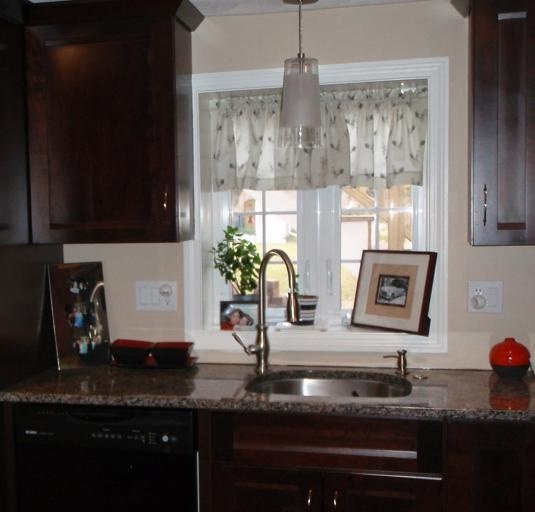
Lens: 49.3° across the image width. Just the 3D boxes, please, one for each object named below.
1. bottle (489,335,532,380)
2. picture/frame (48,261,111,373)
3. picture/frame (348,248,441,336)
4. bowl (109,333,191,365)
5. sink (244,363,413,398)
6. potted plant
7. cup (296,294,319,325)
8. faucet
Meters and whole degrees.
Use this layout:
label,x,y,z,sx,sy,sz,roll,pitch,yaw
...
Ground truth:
label,x,y,z,sx,sy,sz,roll,pitch,yaw
bottle,0.856,0.351,2.043,0.119,0.137,0.131,-1,-5,3
picture/frame,-0.756,0.233,2.337,0.224,0.403,0.110,-1,3,-31
picture/frame,0.508,0.172,2.345,0.276,0.359,0.200,2,-27,25
bowl,-0.446,0.375,2.289,0.310,0.090,0.149,1,3,7
sink,0.221,0.481,2.134,0.581,0.098,0.217,1,3,5
potted plant,-0.144,0.031,2.594,0.221,0.344,0.199,-4,-1,-16
cup,0.167,0.227,2.414,0.077,0.124,0.190,1,3,3
faucet,-0.010,0.211,2.126,0.195,0.469,0.324,0,3,-15
